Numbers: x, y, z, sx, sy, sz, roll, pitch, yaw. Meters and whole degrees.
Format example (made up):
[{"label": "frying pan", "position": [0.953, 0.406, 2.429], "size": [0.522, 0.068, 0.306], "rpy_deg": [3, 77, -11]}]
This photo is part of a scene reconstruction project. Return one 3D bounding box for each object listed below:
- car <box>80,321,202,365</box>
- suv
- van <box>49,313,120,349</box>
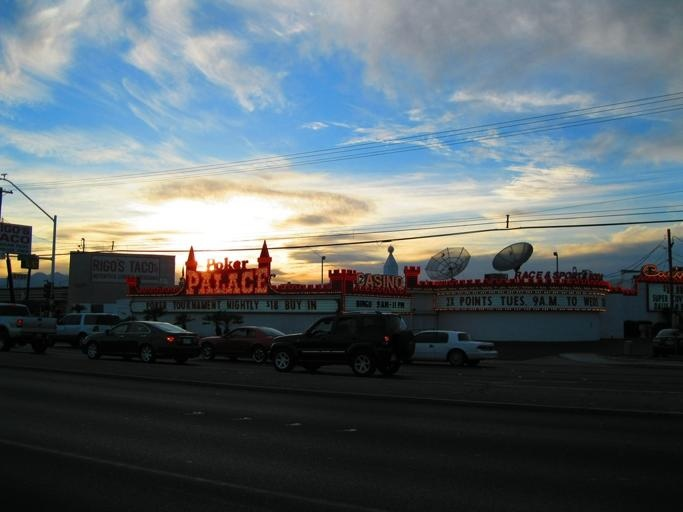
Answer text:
[{"label": "car", "position": [-8.079, 3.465, 26.118], "size": [4.352, 1.586, 0.945], "rpy_deg": [-2, -5, 15]}, {"label": "suv", "position": [0.127, 2.944, 23.148], "size": [4.533, 1.838, 2.243], "rpy_deg": [1, -3, 25]}, {"label": "van", "position": [-14.751, 4.325, 37.528], "size": [4.791, 1.758, 2.345], "rpy_deg": [1, -1, 29]}]
